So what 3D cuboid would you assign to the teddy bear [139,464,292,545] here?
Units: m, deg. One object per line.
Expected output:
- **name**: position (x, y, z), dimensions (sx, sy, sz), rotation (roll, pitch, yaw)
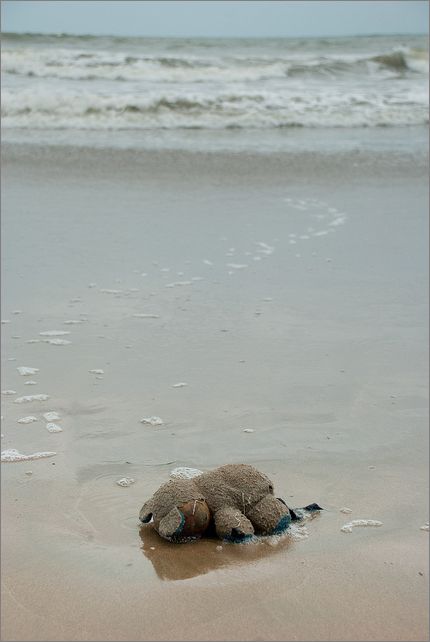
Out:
- **teddy bear**: position (0.003, 0.973, 4.448), dimensions (0.783, 0.299, 0.703), rotation (-6, 12, -35)
